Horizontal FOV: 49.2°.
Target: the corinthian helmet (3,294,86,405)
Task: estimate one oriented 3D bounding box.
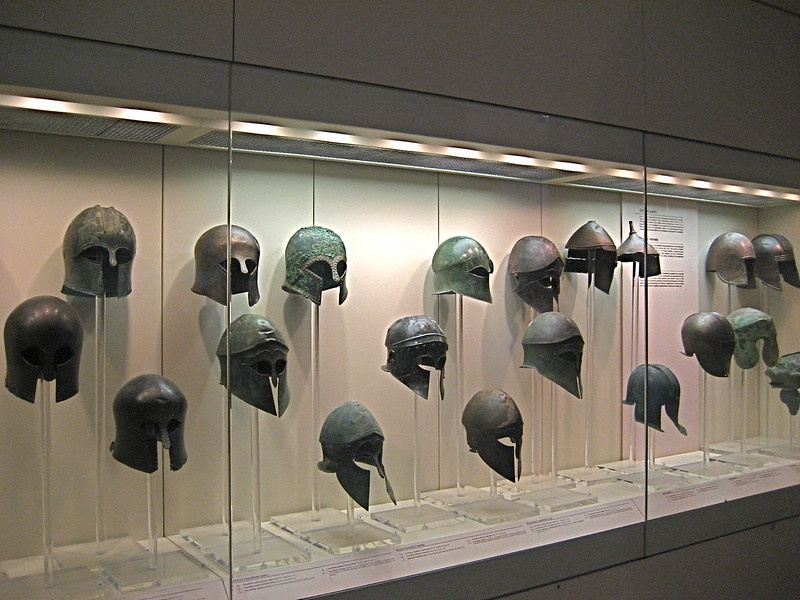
[{"bbox_3d":[-1.185,0.170,2.910,0.229,0.365,0.322,2,6,-32],"label":"corinthian helmet"}]

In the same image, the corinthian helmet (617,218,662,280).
[{"bbox_3d":[1.053,-0.234,3.954,0.226,0.270,0.191,-4,-7,8],"label":"corinthian helmet"}]

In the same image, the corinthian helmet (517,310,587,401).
[{"bbox_3d":[0.668,0.232,3.826,0.268,0.384,0.263,2,-9,-28],"label":"corinthian helmet"}]

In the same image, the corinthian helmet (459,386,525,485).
[{"bbox_3d":[0.397,0.573,3.715,0.240,0.389,0.258,0,4,33],"label":"corinthian helmet"}]

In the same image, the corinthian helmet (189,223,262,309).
[{"bbox_3d":[-0.620,-0.120,3.163,0.144,0.300,0.310,0,3,13],"label":"corinthian helmet"}]

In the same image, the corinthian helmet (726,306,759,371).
[{"bbox_3d":[1.644,0.186,4.207,0.170,0.301,0.144,2,-3,45],"label":"corinthian helmet"}]

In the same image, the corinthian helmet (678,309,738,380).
[{"bbox_3d":[1.434,0.209,4.084,0.290,0.360,0.247,-3,2,18],"label":"corinthian helmet"}]

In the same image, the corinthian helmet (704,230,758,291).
[{"bbox_3d":[1.591,-0.171,4.204,0.255,0.327,0.252,-2,-4,24],"label":"corinthian helmet"}]

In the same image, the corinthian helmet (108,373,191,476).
[{"bbox_3d":[-0.889,0.419,3.084,0.279,0.322,0.231,7,7,41],"label":"corinthian helmet"}]

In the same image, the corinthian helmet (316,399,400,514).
[{"bbox_3d":[-0.194,0.592,3.489,0.321,0.403,0.226,3,3,39],"label":"corinthian helmet"}]

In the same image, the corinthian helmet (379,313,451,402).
[{"bbox_3d":[0.048,0.218,3.625,0.289,0.334,0.232,0,1,37],"label":"corinthian helmet"}]

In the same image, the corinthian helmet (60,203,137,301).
[{"bbox_3d":[-1.064,-0.170,3.049,0.207,0.316,0.268,0,1,-43],"label":"corinthian helmet"}]

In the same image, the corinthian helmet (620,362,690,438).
[{"bbox_3d":[1.175,0.426,4.031,0.220,0.331,0.283,-20,25,-35],"label":"corinthian helmet"}]

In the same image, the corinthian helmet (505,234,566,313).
[{"bbox_3d":[0.593,-0.111,3.802,0.232,0.351,0.216,-11,14,-23],"label":"corinthian helmet"}]

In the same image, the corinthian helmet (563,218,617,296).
[{"bbox_3d":[0.845,-0.189,3.828,0.272,0.424,0.259,1,-2,32],"label":"corinthian helmet"}]

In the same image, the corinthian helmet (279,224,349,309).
[{"bbox_3d":[-0.334,-0.148,3.462,0.254,0.324,0.241,0,5,-23],"label":"corinthian helmet"}]

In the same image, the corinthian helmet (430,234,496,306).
[{"bbox_3d":[0.257,-0.128,3.679,0.269,0.323,0.237,-1,4,39],"label":"corinthian helmet"}]
